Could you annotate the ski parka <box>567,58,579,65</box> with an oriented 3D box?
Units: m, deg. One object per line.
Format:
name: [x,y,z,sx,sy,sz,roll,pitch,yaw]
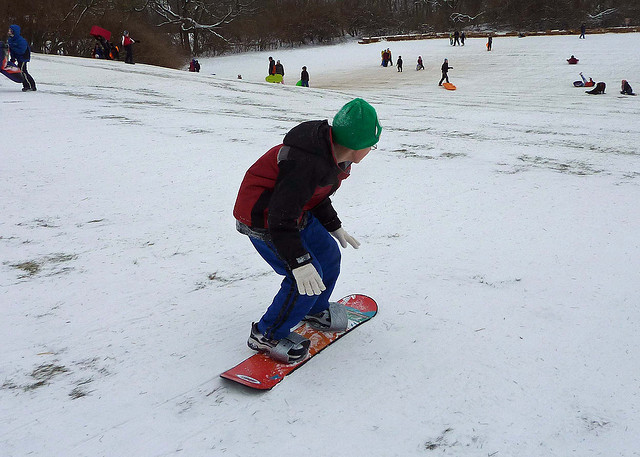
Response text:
ski parka: [10.454,-6.971,22.383,0.344,0.249,0.396,6,21,18]

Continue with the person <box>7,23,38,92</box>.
person: [-6.655,-3.799,11.964,0.454,1.323,2.359,-12,22,-24]

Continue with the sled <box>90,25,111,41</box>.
sled: [-8.023,-7.093,19.438,0.572,0.619,1.002,7,26,5]

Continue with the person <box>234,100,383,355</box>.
person: [-0.100,0.021,3.980,1.015,1.865,0.675,-6,21,-11]

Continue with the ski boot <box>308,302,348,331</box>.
ski boot: [0.056,0.706,4.351,0.278,0.081,0.195,-3,6,-20]

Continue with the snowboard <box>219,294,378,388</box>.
snowboard: [-0.070,0.905,4.300,0.447,0.122,1.689,21,32,37]

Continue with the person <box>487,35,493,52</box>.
person: [9.506,-10.417,30.276,0.245,0.848,1.485,4,21,16]

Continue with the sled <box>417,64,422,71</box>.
sled: [4.730,-7.790,25.861,0.168,0.183,0.163,-2,-20,-17]

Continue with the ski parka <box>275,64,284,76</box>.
ski parka: [-1.865,-7.101,24.115,0.370,0.452,0.718,-4,20,-6]

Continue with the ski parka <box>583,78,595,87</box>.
ski parka: [8.851,-4.811,17.782,0.279,0.277,0.575,8,22,24]

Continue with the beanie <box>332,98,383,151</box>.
beanie: [0.244,-0.734,3.829,0.303,0.284,0.405,37,53,26]

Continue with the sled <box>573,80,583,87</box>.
sled: [8.513,-4.792,17.837,0.241,0.185,0.225,6,21,18]

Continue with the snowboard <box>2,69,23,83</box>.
snowboard: [-6.375,-3.178,11.230,0.371,0.085,0.194,35,-21,-32]
